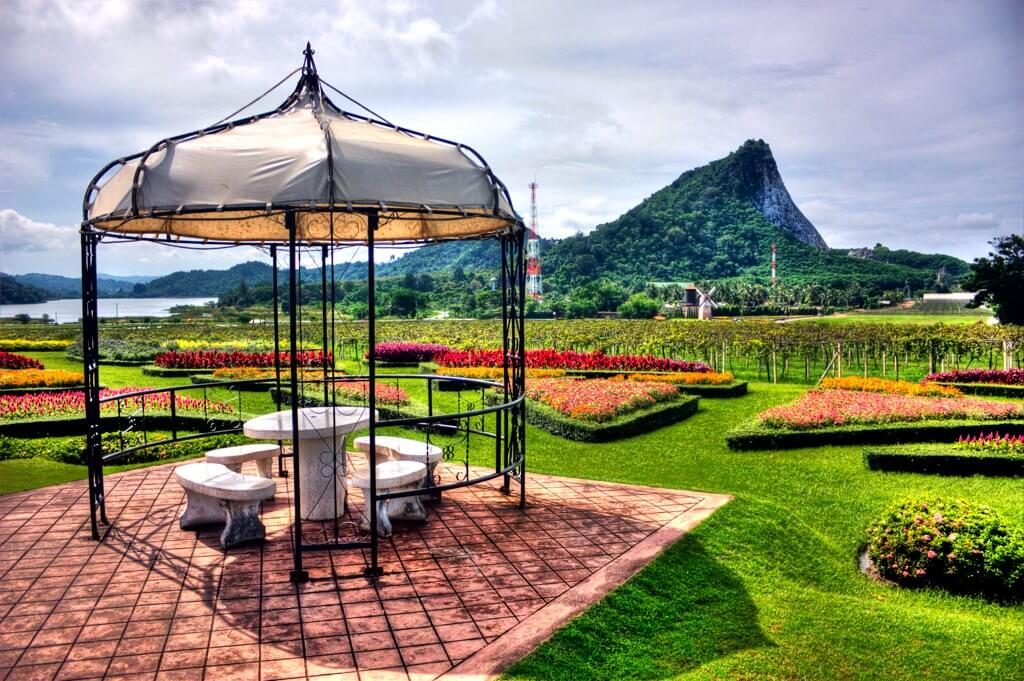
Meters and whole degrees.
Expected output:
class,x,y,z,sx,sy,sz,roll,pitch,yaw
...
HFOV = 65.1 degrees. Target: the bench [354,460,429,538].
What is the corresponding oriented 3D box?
class,x,y,z,sx,sy,sz,roll,pitch,yaw
bench,-1.918,2.548,12.840,0.952,0.806,1.245,-9,-2,41
